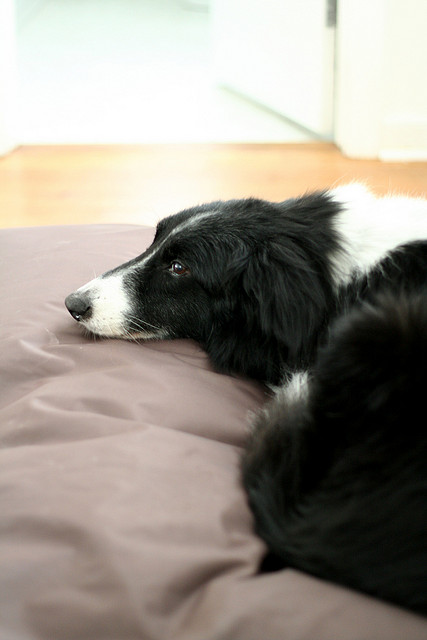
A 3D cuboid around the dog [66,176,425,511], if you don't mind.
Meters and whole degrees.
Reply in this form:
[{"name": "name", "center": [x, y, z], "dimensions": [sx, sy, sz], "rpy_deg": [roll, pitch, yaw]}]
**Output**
[{"name": "dog", "center": [0.125, 0.040, 0.961], "dimensions": [0.691, 0.206, 0.449], "rpy_deg": [-5, 35, -12]}]
